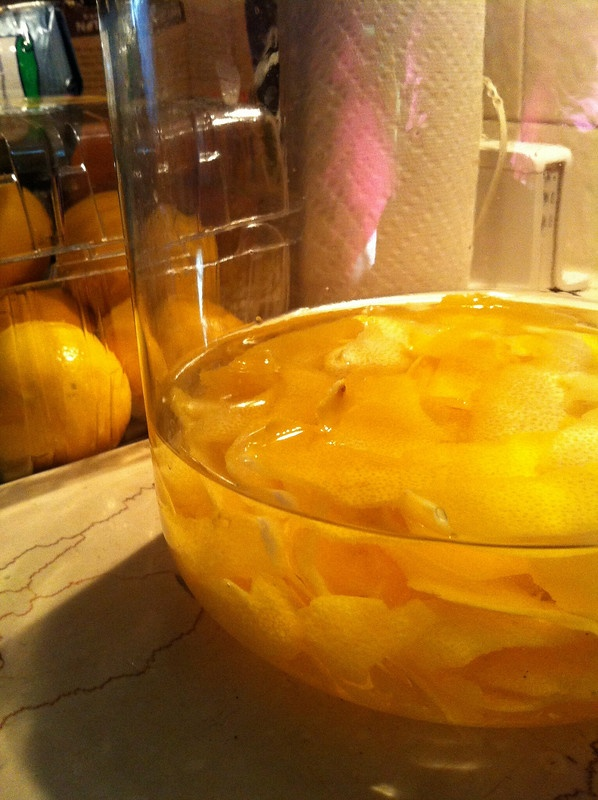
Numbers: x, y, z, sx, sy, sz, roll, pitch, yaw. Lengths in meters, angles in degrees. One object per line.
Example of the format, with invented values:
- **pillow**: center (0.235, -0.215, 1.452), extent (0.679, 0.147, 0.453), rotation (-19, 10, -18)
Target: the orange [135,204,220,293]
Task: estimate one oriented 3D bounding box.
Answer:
- **orange**: center (-0.048, -0.059, 0.285), extent (0.031, 0.039, 0.017), rotation (-6, 19, -7)
